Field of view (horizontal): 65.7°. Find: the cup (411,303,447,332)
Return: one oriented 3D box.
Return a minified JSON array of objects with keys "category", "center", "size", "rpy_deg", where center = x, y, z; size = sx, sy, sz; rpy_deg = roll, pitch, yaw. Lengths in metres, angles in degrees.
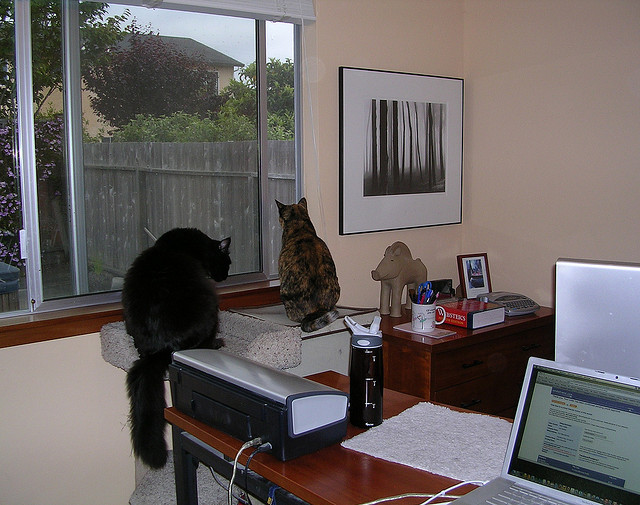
[{"category":"cup","center":[0.610,0.344,2.746],"size":[0.115,0.187,0.249],"rpy_deg":[10,20,44]}]

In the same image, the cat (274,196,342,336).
[{"category":"cat","center":[-0.094,0.035,2.413],"size":[0.216,0.697,0.316],"rpy_deg":[-8,-16,-4]}]
